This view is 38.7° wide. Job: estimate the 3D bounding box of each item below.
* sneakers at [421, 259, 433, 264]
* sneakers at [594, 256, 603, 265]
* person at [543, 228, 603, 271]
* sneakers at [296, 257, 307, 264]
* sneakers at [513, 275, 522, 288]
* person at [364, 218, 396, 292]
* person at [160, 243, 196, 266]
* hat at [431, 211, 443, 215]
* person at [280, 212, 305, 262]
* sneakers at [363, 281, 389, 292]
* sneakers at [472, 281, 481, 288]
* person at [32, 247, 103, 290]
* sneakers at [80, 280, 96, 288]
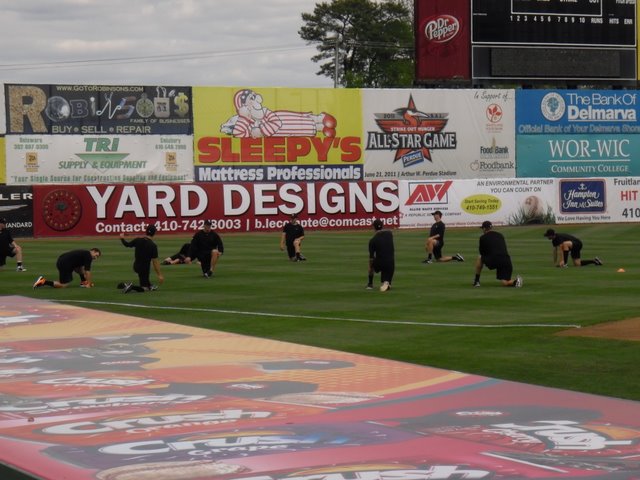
[{"bbox_3d":[3.519,0.715,30.395,0.370,0.112,0.124,3,5,26],"label":"sneakers"},{"bbox_3d":[8.812,0.679,29.154,0.230,0.205,0.612,1,0,29],"label":"sneakers"},{"bbox_3d":[7.933,0.289,28.847,2.071,0.953,0.719,4,-8,-13],"label":"person"},{"bbox_3d":[-0.675,0.632,31.348,0.358,0.187,0.618,-2,4,0],"label":"sneakers"},{"bbox_3d":[5.158,1.094,23.931,0.212,0.354,0.148,27,9,13],"label":"sneakers"},{"bbox_3d":[1.535,0.393,23.624,0.586,1.839,0.920,-1,4,25],"label":"person"},{"bbox_3d":[-4.913,0.562,31.679,1.160,0.573,0.475,-12,-37,22],"label":"person"},{"bbox_3d":[4.804,-1.125,37.892,0.381,0.157,0.562,1,2,-34],"label":"hat"},{"bbox_3d":[-0.927,-0.091,31.600,0.666,1.582,1.192,-3,4,-1],"label":"person"},{"bbox_3d":[1.521,1.233,23.845,0.246,0.216,0.630,2,-6,-24],"label":"sneakers"},{"bbox_3d":[4.111,1.184,24.234,0.173,0.144,0.396,3,6,13],"label":"sneakers"},{"bbox_3d":[-6.978,0.793,24.908,2.096,0.945,0.810,-6,-2,-41],"label":"person"},{"bbox_3d":[-6.401,1.207,25.031,0.413,0.133,0.143,0,6,16],"label":"sneakers"}]
